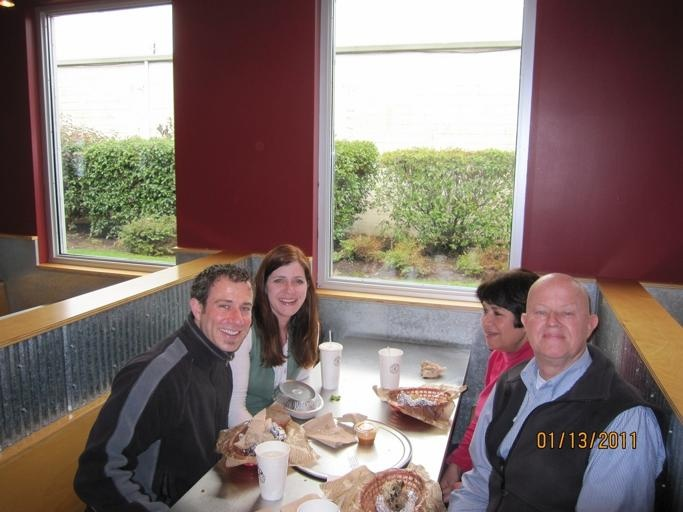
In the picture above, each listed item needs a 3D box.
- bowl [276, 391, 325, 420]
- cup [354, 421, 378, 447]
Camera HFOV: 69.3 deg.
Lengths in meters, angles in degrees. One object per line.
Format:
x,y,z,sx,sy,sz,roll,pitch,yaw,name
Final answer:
-0.161,0.587,1.900,0.110,0.028,0.110,3,6,0,bowl
0.085,0.627,1.735,0.062,0.045,0.064,0,0,0,cup
